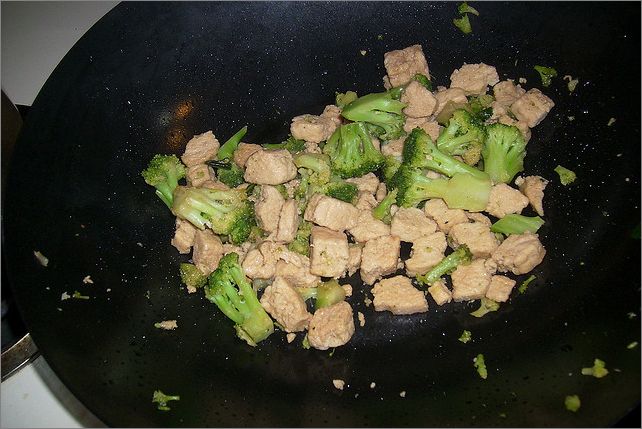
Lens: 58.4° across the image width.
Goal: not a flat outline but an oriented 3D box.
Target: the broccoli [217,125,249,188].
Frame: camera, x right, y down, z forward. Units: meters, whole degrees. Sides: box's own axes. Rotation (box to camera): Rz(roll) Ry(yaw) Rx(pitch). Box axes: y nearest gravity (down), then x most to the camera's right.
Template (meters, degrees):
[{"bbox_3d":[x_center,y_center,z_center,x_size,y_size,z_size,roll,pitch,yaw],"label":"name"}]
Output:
[{"bbox_3d":[-0.755,-0.489,4.892,0.266,0.099,0.449,32,97,40],"label":"broccoli"}]
